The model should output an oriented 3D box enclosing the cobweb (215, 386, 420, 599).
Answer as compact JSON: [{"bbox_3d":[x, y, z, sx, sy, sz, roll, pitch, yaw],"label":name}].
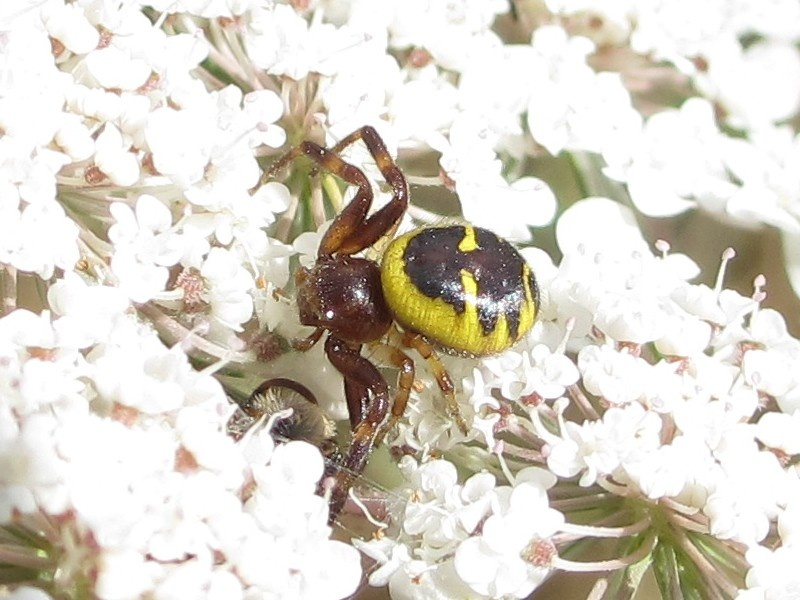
[{"bbox_3d":[-0.067,0.152,0.892,0.147,0.211,0.064,-9,19,35],"label":"cobweb"}]

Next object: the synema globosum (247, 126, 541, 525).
[{"bbox_3d":[0.000,-0.002,0.915,0.316,0.420,0.125,-5,-13,2],"label":"synema globosum"}]
